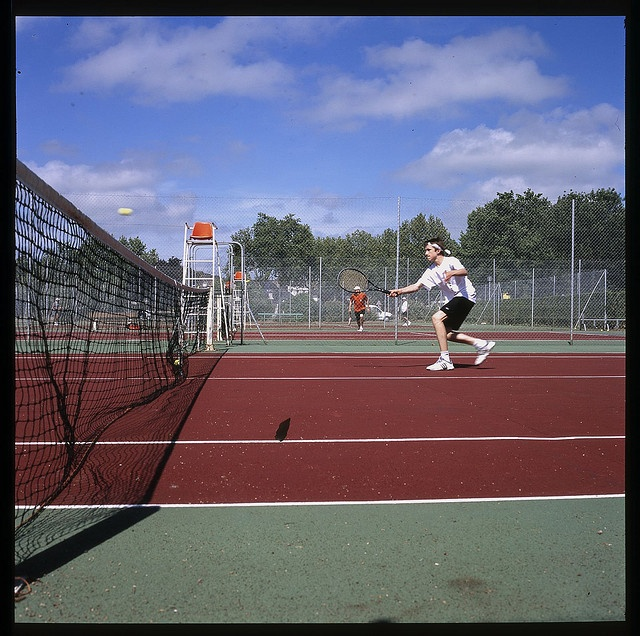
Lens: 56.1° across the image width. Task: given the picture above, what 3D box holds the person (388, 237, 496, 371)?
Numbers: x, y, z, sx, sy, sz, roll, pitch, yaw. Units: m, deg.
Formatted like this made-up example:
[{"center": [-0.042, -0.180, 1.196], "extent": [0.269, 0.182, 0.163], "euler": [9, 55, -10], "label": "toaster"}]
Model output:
[{"center": [1.607, -0.141, 7.586], "extent": [0.627, 1.679, 1.073], "euler": [-1, 1, 26], "label": "person"}]

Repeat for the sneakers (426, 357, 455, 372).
[{"center": [1.579, 0.605, 7.687], "extent": [0.409, 0.222, 0.158], "euler": [1, -2, -8], "label": "sneakers"}]

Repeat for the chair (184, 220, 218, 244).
[{"center": [-2.371, -1.672, 11.872], "extent": [0.680, 0.381, 0.251], "euler": [-1, 1, 32], "label": "chair"}]

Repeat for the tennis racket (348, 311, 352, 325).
[{"center": [0.994, -0.018, 20.390], "extent": [0.168, 0.079, 0.532], "euler": [1, -38, 4], "label": "tennis racket"}]
